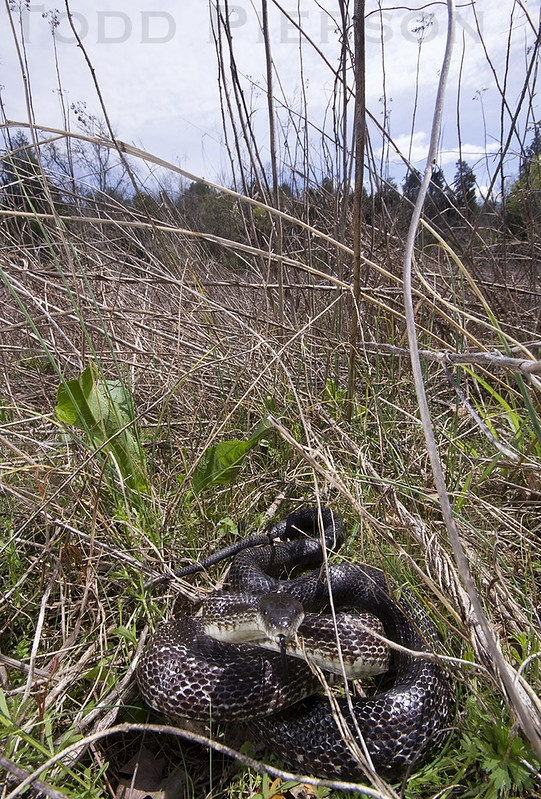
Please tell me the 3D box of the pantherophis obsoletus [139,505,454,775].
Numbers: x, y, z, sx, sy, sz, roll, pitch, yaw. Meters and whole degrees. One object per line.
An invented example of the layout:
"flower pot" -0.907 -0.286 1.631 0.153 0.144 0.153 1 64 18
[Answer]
"pantherophis obsoletus" 0.102 0.926 2.238 0.831 0.487 1.189 2 3 4
